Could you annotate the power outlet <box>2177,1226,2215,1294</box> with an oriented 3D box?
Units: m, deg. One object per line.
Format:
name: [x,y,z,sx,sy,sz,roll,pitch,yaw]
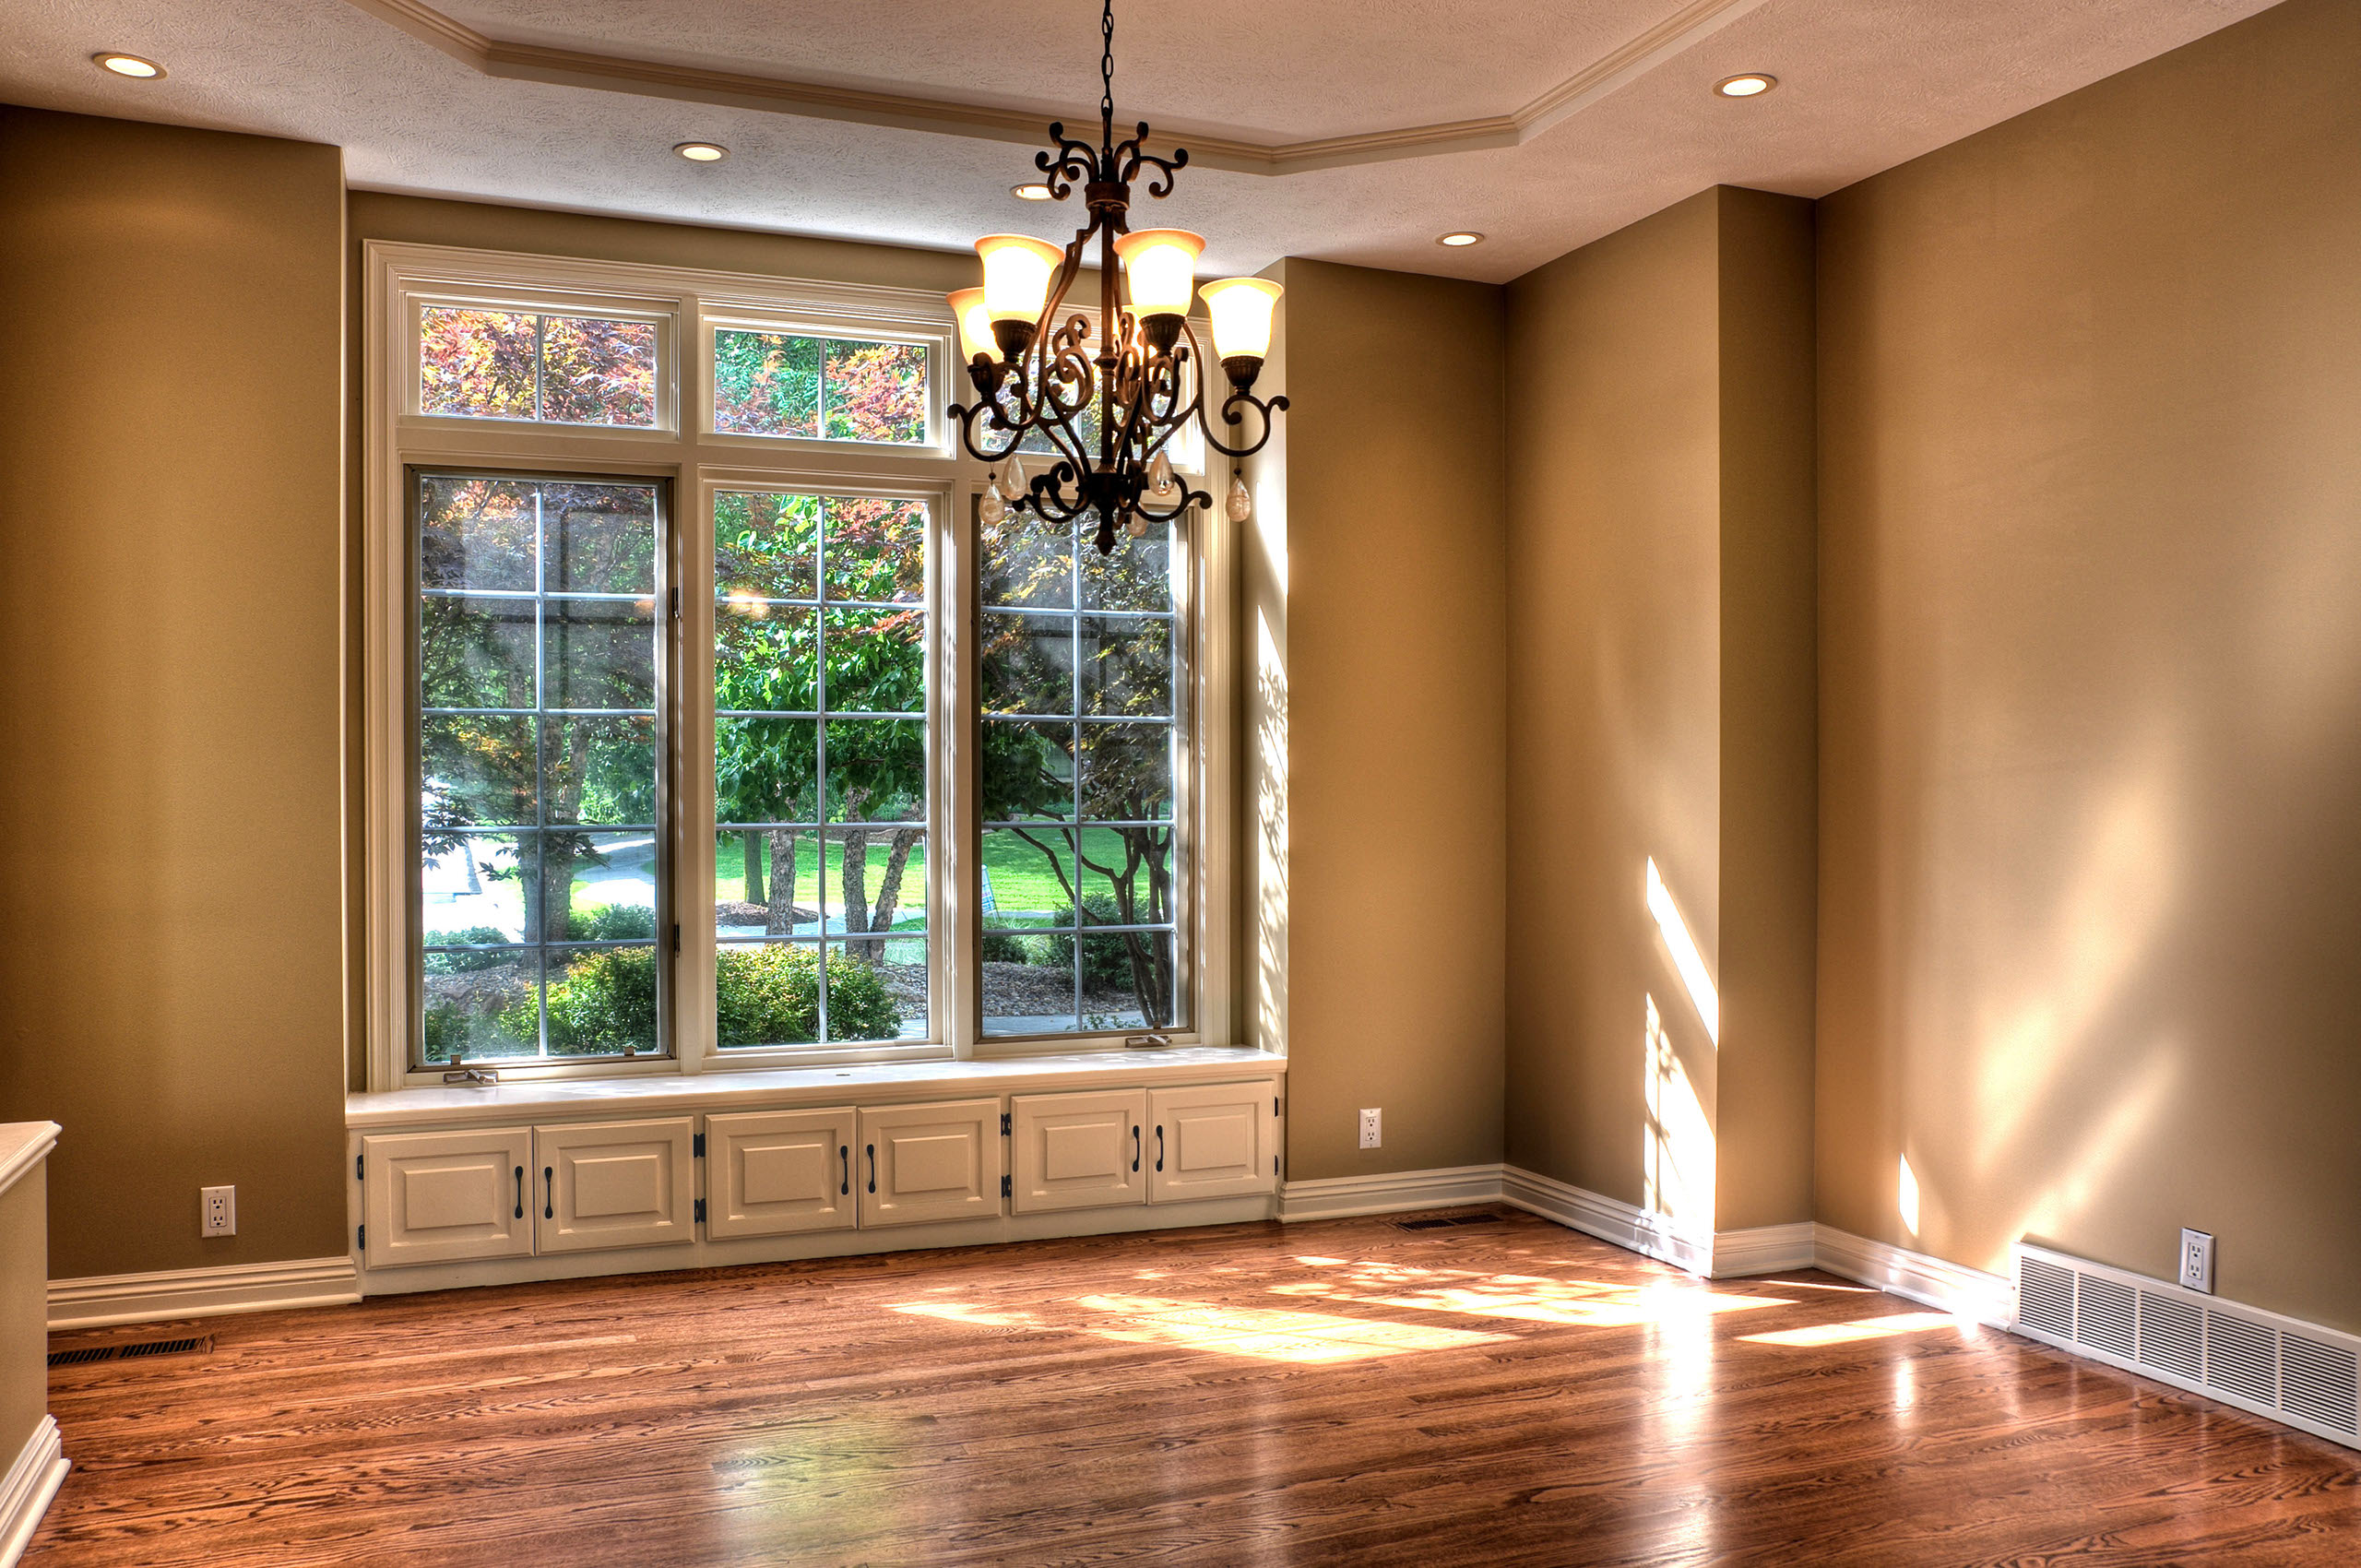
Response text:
power outlet: [3.046,1.429,5.640,0.044,0.188,0.117,-5,10,-26]
